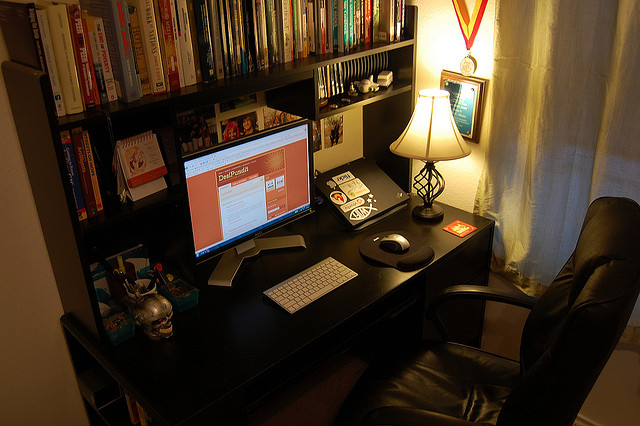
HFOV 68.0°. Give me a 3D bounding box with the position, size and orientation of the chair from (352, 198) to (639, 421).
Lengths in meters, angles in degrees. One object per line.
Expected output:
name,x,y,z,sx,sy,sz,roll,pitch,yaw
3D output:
chair,0.666,0.515,1.882,0.819,1.064,0.728,9,32,18

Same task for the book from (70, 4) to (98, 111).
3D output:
book,-0.863,-0.572,1.732,0.037,0.369,0.279,-17,32,-22

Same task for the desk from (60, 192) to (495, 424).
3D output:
desk,-0.236,0.440,2.104,1.235,0.667,0.641,-22,31,-38

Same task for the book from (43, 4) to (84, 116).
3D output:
book,-0.907,-0.548,1.699,0.070,0.356,0.115,-6,30,-6

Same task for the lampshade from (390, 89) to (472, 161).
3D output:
lampshade,0.560,-0.417,2.506,0.321,0.392,0.337,9,27,2

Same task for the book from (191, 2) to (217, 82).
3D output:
book,-0.474,-0.708,1.963,0.061,0.302,0.079,-8,30,-9

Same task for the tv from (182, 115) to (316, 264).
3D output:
tv,-0.344,-0.108,2.212,0.644,0.473,0.050,-23,34,-37

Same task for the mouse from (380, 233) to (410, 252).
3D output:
mouse,0.370,0.138,2.318,0.116,0.042,0.073,17,39,28

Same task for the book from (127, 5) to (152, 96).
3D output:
book,-0.692,-0.640,1.818,0.030,0.307,0.234,-17,31,-14

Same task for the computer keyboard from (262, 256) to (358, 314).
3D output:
computer keyboard,-0.042,0.309,2.162,0.410,0.213,0.028,-33,38,23
